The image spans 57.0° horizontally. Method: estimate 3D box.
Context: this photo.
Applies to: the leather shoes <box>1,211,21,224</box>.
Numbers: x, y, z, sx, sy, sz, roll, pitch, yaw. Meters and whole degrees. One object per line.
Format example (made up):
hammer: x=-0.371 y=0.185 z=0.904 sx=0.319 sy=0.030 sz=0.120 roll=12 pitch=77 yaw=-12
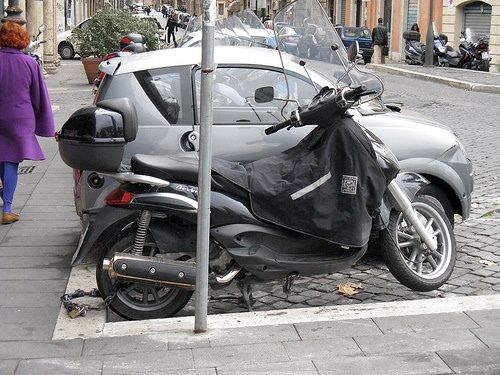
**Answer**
leather shoes: x=-2.809 y=0.345 z=5.398 sx=0.090 sy=0.088 sz=0.235 roll=1 pitch=10 yaw=6
